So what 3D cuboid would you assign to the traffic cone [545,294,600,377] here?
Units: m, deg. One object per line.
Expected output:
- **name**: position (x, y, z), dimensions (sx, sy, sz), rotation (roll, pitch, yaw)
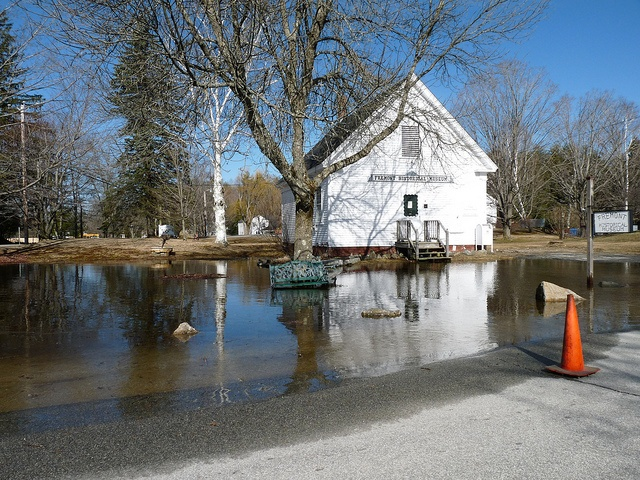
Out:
- **traffic cone**: position (3.658, 1.418, 7.343), dimensions (0.845, 1.031, 0.849), rotation (0, 0, 16)
